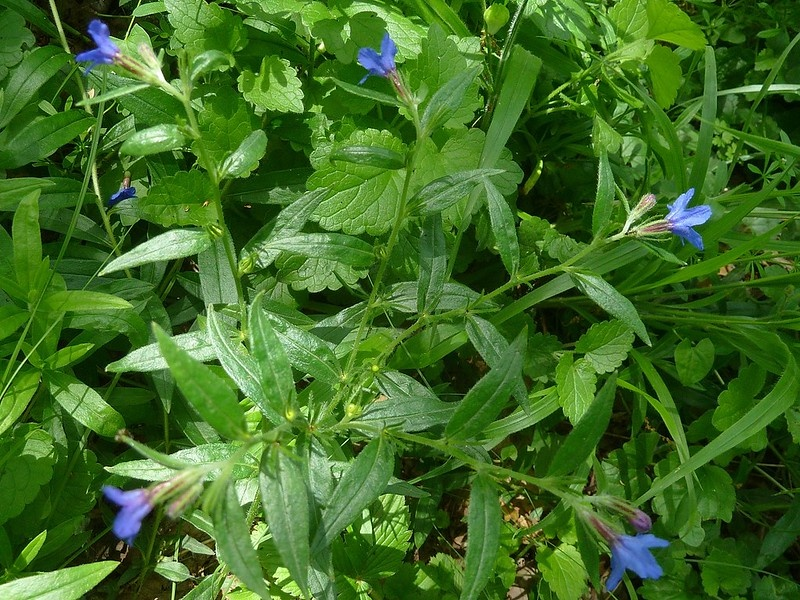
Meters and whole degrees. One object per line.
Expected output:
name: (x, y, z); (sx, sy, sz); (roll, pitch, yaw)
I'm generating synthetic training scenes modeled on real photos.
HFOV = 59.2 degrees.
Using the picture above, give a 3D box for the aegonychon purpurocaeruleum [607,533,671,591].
aegonychon purpurocaeruleum: (0.536, 0.590, 1.612); (0.103, 0.154, 0.100); (2, 58, -14)
